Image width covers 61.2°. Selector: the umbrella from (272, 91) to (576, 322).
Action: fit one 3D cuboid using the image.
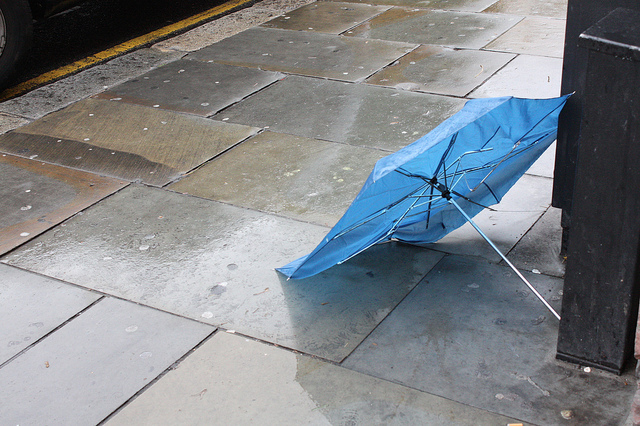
[{"bbox_3d":[0.735,0.015,3.813,2.019,1.694,0.640,-21,77,-12],"label":"umbrella"}]
